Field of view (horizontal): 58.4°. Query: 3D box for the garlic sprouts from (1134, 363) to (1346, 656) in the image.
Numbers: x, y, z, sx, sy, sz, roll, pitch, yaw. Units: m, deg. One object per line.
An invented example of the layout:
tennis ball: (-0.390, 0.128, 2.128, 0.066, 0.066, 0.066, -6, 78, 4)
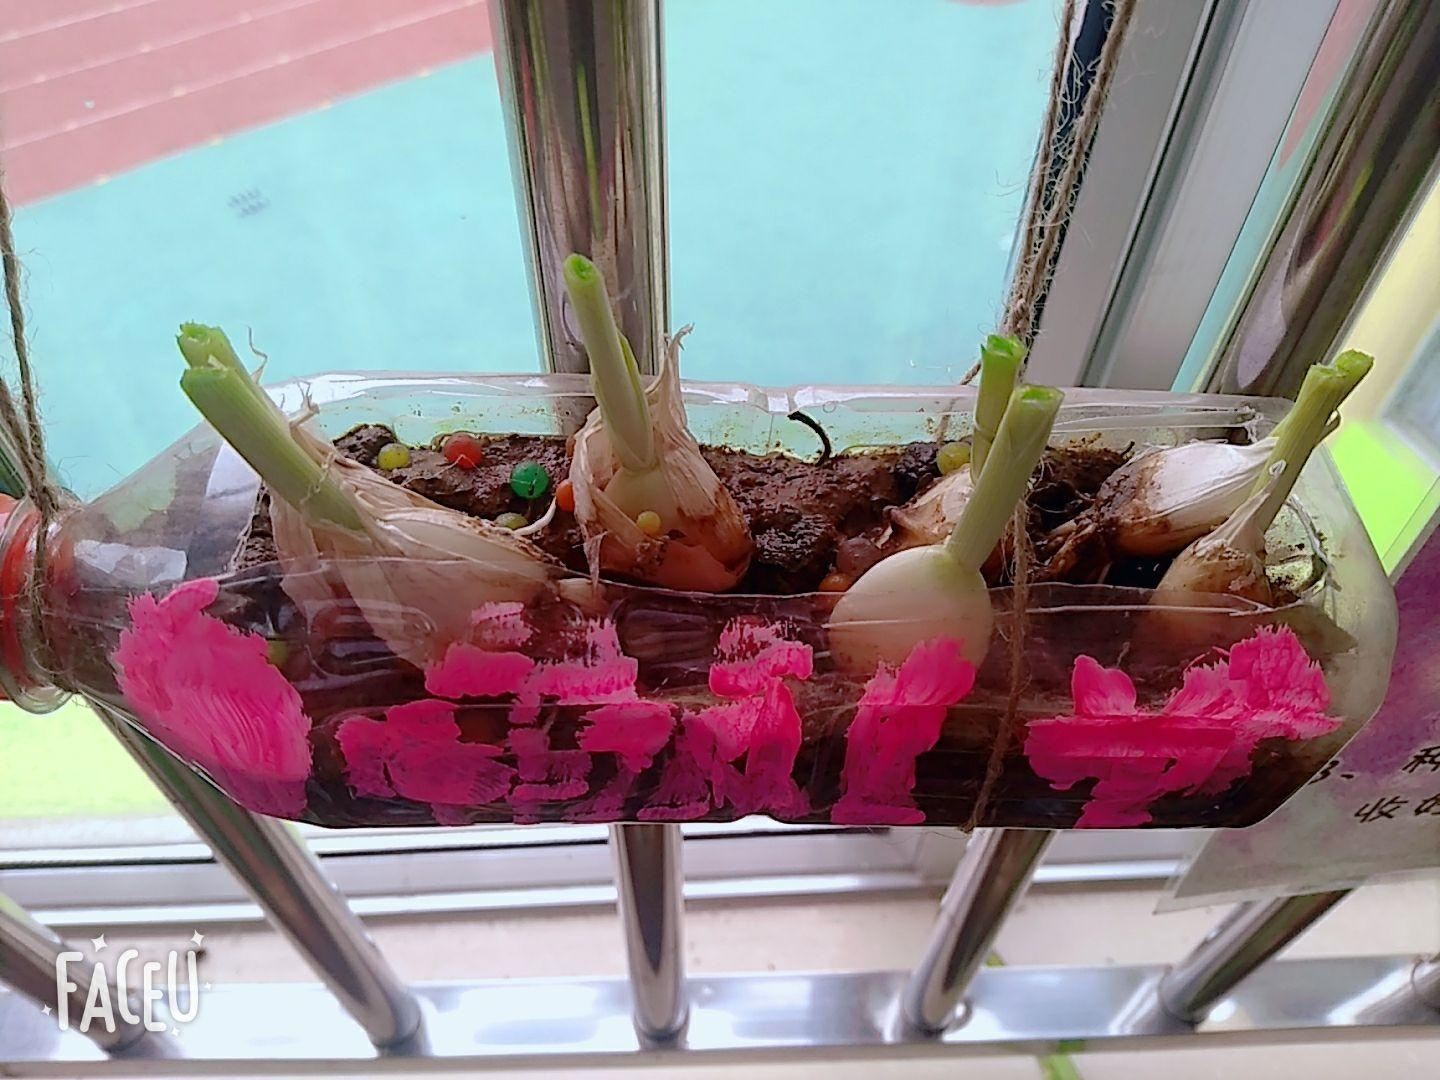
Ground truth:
garlic sprouts: (0.395, -0.035, 0.985, 0.101, 0.218, 0.078, 23, 10, 14)
